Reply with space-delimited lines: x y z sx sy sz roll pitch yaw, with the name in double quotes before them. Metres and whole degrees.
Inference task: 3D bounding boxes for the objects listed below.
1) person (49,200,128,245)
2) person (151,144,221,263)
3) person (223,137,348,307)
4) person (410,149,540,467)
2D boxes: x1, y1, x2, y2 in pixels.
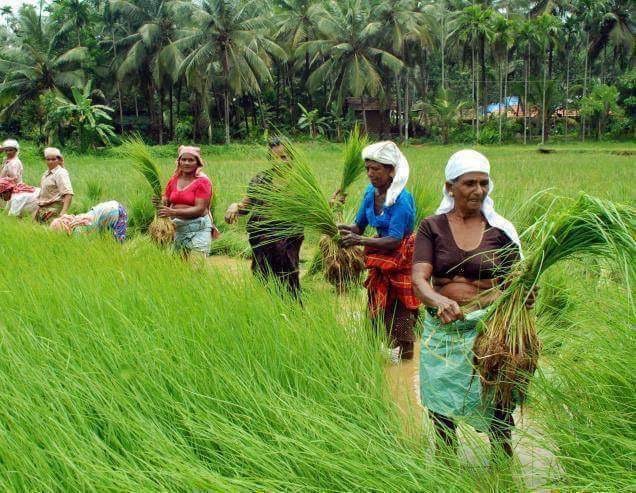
"person" -2.532 -0.271 7.479 0.763 0.450 0.564 -2 7 -13
"person" -1.321 -0.262 6.785 0.558 1.492 0.482 -4 14 -25
"person" -0.387 -0.145 5.474 0.594 1.500 0.484 3 26 1
"person" 0.826 0.297 3.769 0.601 1.664 0.566 2 6 16
